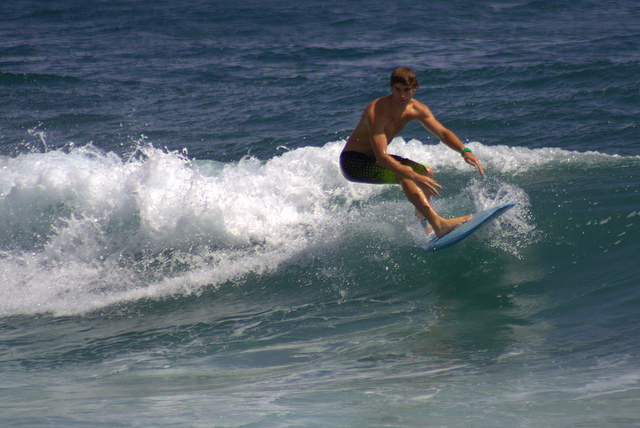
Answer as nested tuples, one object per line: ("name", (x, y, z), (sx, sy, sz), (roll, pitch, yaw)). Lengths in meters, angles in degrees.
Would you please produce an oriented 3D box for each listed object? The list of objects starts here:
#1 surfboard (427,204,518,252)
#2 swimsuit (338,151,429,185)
("surfboard", (3.349, 0.352, 23.617), (0.902, 2.859, 0.456), (-16, 91, -47))
("swimsuit", (1.269, -0.952, 23.508), (1.706, 0.799, 0.404), (10, 87, 24))
